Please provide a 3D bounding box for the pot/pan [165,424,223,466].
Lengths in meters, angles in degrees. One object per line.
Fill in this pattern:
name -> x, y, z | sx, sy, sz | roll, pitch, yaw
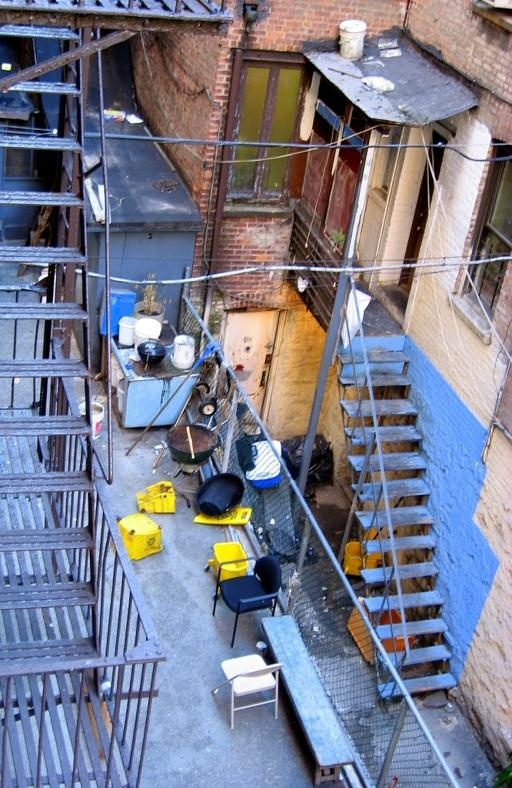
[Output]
pot/pan -> -0.774, 0.584, 7.652 | 0.500, 0.257, 0.519 | 2, 38, -3

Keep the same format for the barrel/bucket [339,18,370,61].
barrel/bucket -> 1.266, -4.675, 8.393 | 0.472, 0.524, 0.486 | 1, 37, -1

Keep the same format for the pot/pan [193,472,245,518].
pot/pan -> -0.406, 1.176, 7.088 | 0.518, 0.554, 0.377 | 10, 29, -2

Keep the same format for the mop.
mop -> -1.089, 0.072, 8.345 | 0.274, 1.889, 0.278 | 46, -1, 8

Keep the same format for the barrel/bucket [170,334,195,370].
barrel/bucket -> -0.998, -0.555, 8.642 | 0.315, 0.331, 0.315 | 9, 35, -7

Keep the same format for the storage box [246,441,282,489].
storage box -> 0.173, 0.809, 6.982 | 0.149, 0.544, 0.382 | 11, -10, -43

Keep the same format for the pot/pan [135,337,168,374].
pot/pan -> -1.468, -0.525, 8.607 | 0.389, 0.441, 0.405 | 17, 32, -25

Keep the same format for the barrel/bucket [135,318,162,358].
barrel/bucket -> -1.489, -0.765, 8.652 | 0.312, 0.439, 0.300 | 10, 40, -8
